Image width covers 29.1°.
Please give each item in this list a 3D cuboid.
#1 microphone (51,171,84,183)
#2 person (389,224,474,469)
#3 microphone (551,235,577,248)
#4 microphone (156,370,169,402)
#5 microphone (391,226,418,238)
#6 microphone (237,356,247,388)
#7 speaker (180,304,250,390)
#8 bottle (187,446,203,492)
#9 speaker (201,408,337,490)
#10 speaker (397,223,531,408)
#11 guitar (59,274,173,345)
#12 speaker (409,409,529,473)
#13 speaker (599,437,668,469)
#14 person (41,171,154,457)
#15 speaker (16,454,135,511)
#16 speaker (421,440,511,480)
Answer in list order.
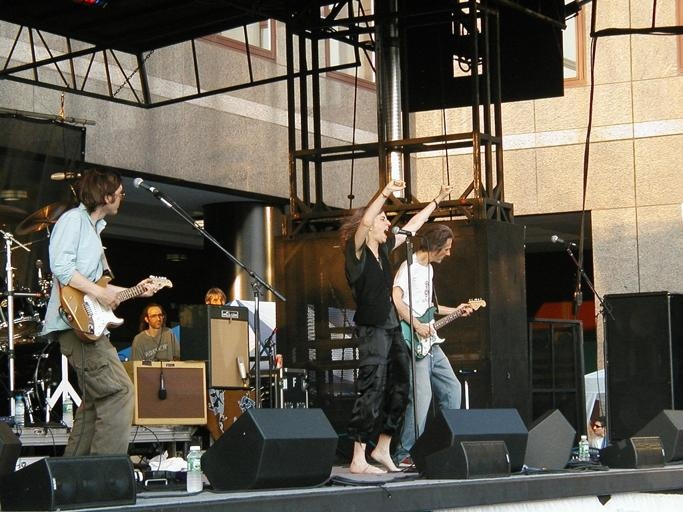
[{"bbox_3d":[-3.001,-0.859,14.454,0.286,0.091,0.298,-2,-2,31],"label":"microphone"},{"bbox_3d":[0.800,0.860,12.009,0.958,2.190,0.549,2,-3,-38],"label":"person"},{"bbox_3d":[2.906,-0.194,17.391,0.303,0.118,0.182,18,-7,21],"label":"microphone"},{"bbox_3d":[-1.710,1.243,12.637,0.090,0.287,0.080,-1,-5,-12],"label":"microphone"},{"bbox_3d":[0.541,-0.161,11.174,0.257,0.070,0.077,19,8,-24],"label":"microphone"},{"bbox_3d":[-0.981,1.148,12.997,0.073,0.300,0.103,-4,-2,-9],"label":"microphone"},{"bbox_3d":[-1.367,0.907,13.134,0.750,1.081,0.708,-4,-5,36],"label":"speaker"},{"bbox_3d":[-1.105,1.605,9.939,0.116,0.330,0.294,-1,-5,-7],"label":"bottle"},{"bbox_3d":[-0.562,1.470,9.915,0.732,0.517,0.688,9,-13,-43],"label":"speaker"},{"bbox_3d":[1.198,0.771,13.637,1.103,2.305,1.113,-2,6,13],"label":"speaker"},{"bbox_3d":[-1.823,0.419,10.417,0.776,0.520,0.227,1,-6,-33],"label":"guitar"},{"bbox_3d":[1.008,1.455,10.855,0.954,0.494,0.914,0,1,-9],"label":"speaker"},{"bbox_3d":[2.474,1.680,11.329,0.411,0.264,0.400,4,-3,-37],"label":"speaker"},{"bbox_3d":[-1.911,0.619,10.570,0.904,2.631,0.934,-3,-3,-8],"label":"person"},{"bbox_3d":[-1.907,1.606,9.329,0.882,0.361,0.166,-1,-5,-8],"label":"speaker"},{"bbox_3d":[0.964,1.598,10.356,0.665,0.288,0.221,-2,-5,2],"label":"speaker"}]
